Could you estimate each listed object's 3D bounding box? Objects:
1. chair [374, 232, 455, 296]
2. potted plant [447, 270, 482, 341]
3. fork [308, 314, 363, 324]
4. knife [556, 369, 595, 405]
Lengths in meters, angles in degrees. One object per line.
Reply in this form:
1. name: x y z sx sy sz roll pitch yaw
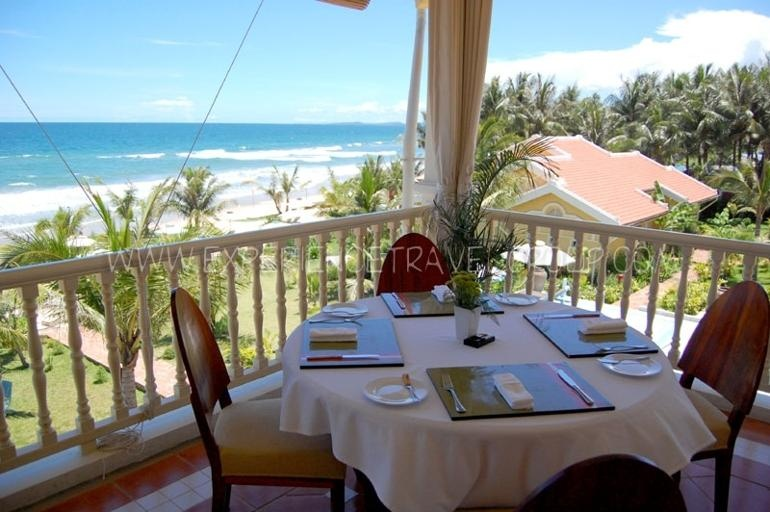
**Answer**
1. chair: 0.193 0.050 3.578 0.477 0.385 0.225 1 13 10
2. potted plant: 0.394 0.258 2.629 0.166 0.331 0.207 12 28 26
3. fork: -0.274 0.342 2.817 0.325 0.018 0.089 -5 27 4
4. knife: 0.815 0.551 2.269 0.044 0.033 0.192 -18 32 -16
